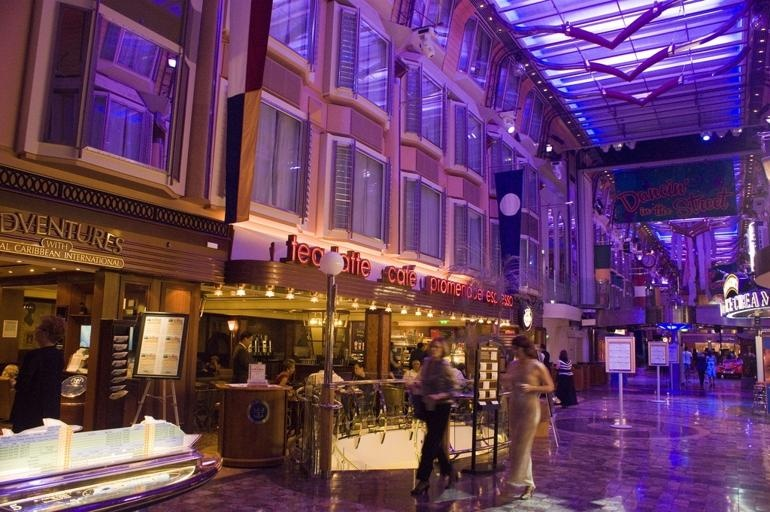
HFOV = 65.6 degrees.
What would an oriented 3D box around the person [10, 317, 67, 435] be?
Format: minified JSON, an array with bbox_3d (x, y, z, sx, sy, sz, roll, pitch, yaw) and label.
[{"bbox_3d":[-4.548,1.550,7.872,0.546,1.490,0.696,7,-16,-31],"label":"person"}]

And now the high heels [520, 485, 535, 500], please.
[{"bbox_3d":[2.268,3.748,9.442,0.128,0.188,0.385,-7,-19,25],"label":"high heels"}]

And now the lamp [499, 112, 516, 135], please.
[{"bbox_3d":[4.541,-4.978,22.292,0.574,0.594,1.017,-8,17,10],"label":"lamp"}]

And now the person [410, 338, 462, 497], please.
[{"bbox_3d":[0.826,2.637,9.966,0.763,2.446,1.369,-1,-13,3],"label":"person"}]

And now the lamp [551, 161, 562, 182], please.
[{"bbox_3d":[9.351,-4.572,32.261,0.366,1.176,0.809,-9,-16,31],"label":"lamp"}]
